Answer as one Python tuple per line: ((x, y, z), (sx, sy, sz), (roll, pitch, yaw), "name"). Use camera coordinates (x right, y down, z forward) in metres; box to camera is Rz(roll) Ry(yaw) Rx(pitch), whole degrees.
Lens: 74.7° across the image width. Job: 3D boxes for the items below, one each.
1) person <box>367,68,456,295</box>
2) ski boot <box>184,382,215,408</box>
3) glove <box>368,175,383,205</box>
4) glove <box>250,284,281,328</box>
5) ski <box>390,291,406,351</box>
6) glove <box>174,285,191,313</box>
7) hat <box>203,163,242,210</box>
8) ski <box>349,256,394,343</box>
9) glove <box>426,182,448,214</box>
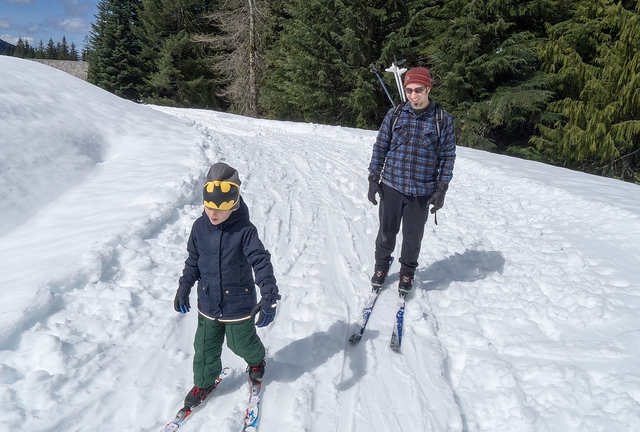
((1.221, -0.416, 5.950), (1.140, 3.122, 0.753), (12, 21, 15), "person")
((-1.314, 1.910, 4.606), (0.110, 0.153, 0.361), (44, 30, -5), "ski boot")
((0.790, -0.347, 5.953), (0.208, 0.380, 0.345), (3, 22, -10), "glove")
((-0.557, 0.930, 4.458), (0.316, 0.416, 0.149), (-7, 2, 1), "glove")
((1.081, 1.389, 5.748), (0.126, 0.116, 1.232), (4, 37, 15), "ski")
((-1.498, 0.916, 4.617), (0.192, 0.270, 0.112), (3, -2, 11), "glove")
((-1.039, -0.323, 4.566), (0.438, 0.561, 0.579), (-2, 0, 7), "hat")
((0.733, 1.101, 5.990), (0.171, 0.094, 1.709), (12, 34, 16), "ski")
((1.613, -0.253, 5.818), (0.116, 0.410, 0.283), (21, 1, 2), "glove")
